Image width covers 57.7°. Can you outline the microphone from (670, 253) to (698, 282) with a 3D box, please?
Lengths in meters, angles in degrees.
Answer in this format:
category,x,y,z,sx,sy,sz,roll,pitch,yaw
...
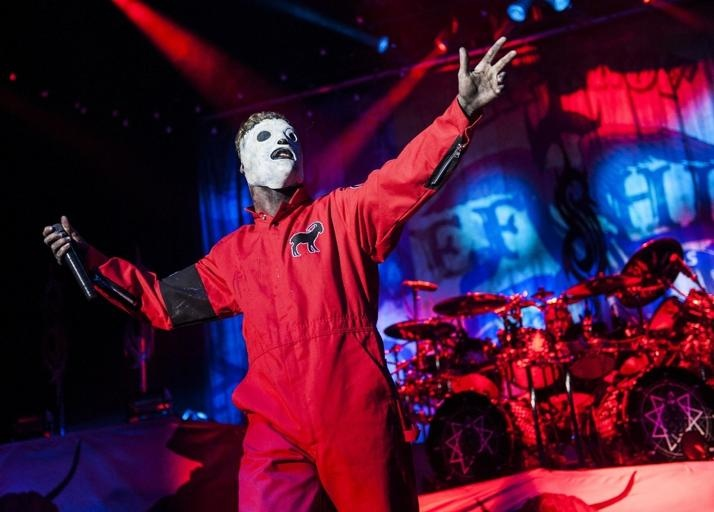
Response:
category,x,y,z,sx,sy,sz,roll,pitch,yaw
microphone,3.112,0.131,6.204,0.161,0.319,0.501,-15,-16,24

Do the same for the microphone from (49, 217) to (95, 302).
category,x,y,z,sx,sy,sz,roll,pitch,yaw
microphone,-1.657,-0.022,3.669,0.130,0.116,0.584,-43,-8,-27

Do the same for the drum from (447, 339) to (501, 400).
category,x,y,z,sx,sy,sz,roll,pitch,yaw
drum,1.176,1.115,6.505,0.469,0.519,0.527,-11,20,14

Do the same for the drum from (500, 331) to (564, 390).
category,x,y,z,sx,sy,sz,roll,pitch,yaw
drum,1.722,0.969,6.289,0.513,0.588,0.544,-3,-2,-10

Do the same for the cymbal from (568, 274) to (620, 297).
category,x,y,z,sx,sy,sz,roll,pitch,yaw
cymbal,2.262,0.307,6.217,0.523,0.090,0.620,-15,-17,15
